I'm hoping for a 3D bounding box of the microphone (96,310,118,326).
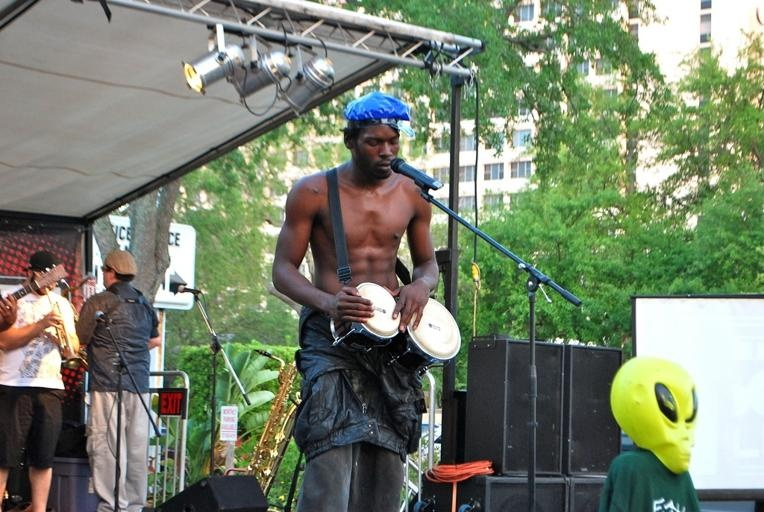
[{"bbox_3d":[-3.850,0.903,18.965,0.214,0.216,0.250,1,-11,-8],"label":"microphone"}]

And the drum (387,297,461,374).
[{"bbox_3d":[0.599,0.962,16.488,0.824,0.849,0.599,39,-47,-7],"label":"drum"}]

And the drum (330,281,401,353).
[{"bbox_3d":[-0.192,0.733,16.264,0.791,0.776,0.296,-1,-10,0],"label":"drum"}]

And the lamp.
[{"bbox_3d":[-1.655,-2.492,18.445,1.948,0.937,0.796,3,-11,-18],"label":"lamp"}]

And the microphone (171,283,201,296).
[{"bbox_3d":[-3.311,0.591,22.878,0.306,0.105,0.190,10,0,41],"label":"microphone"}]
